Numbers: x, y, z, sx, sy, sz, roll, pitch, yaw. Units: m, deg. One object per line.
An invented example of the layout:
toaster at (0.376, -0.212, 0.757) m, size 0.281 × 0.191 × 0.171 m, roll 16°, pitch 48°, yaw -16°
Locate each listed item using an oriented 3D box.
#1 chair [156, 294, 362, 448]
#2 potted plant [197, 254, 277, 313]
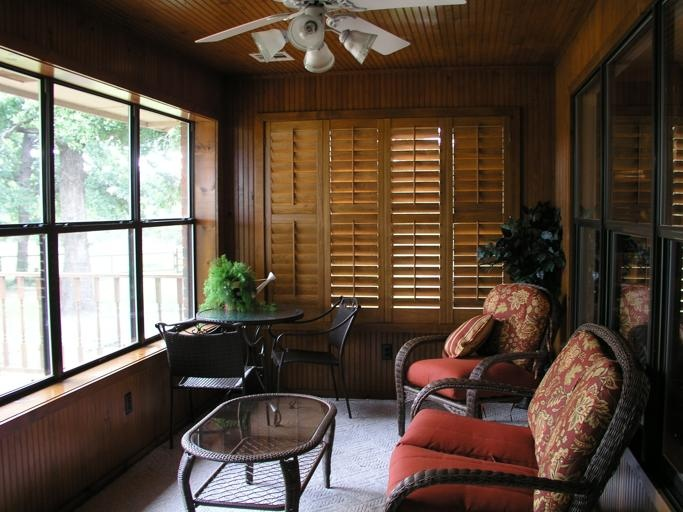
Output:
chair at (-0.615, 1.078, 4.151) m, size 1.613 × 0.821 × 1.025 m, roll -2°, pitch 3°, yaw -4°
potted plant at (-0.865, 0.245, 4.434) m, size 0.530 × 0.449 × 0.490 m, roll -18°, pitch -6°, yaw 23°
